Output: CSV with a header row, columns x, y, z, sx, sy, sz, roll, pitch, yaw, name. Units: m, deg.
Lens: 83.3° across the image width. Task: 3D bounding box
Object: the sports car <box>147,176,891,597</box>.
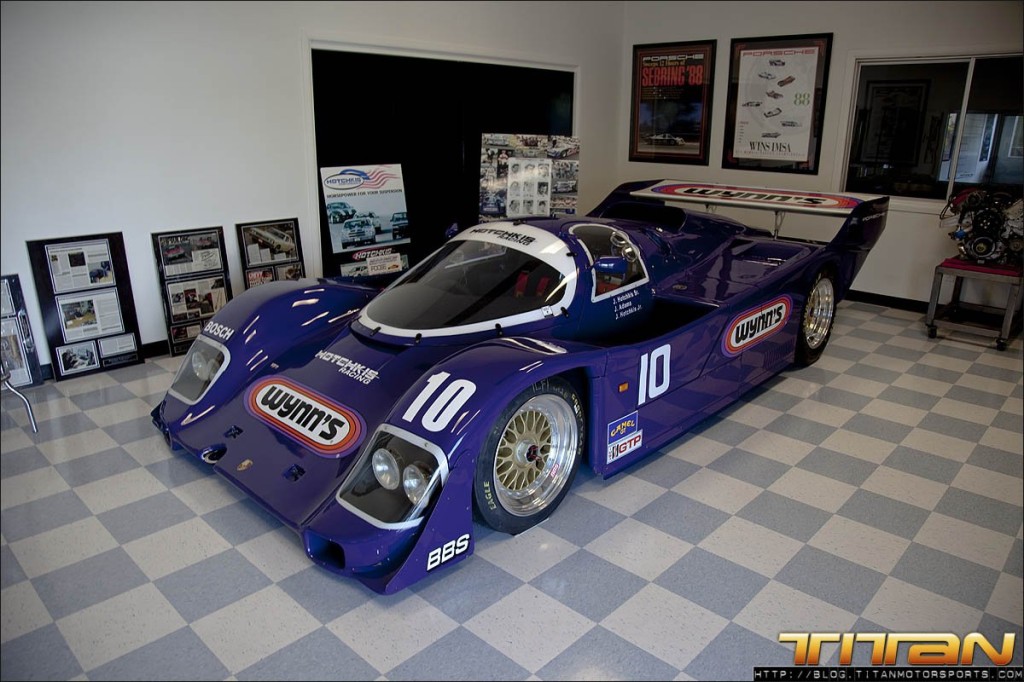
x,y,z,sx,sy,sz,roll,pitch,yaw,name
-0.062,0.010,3.567,3.774,1.397,1.792,-13,23,-29,sports car
